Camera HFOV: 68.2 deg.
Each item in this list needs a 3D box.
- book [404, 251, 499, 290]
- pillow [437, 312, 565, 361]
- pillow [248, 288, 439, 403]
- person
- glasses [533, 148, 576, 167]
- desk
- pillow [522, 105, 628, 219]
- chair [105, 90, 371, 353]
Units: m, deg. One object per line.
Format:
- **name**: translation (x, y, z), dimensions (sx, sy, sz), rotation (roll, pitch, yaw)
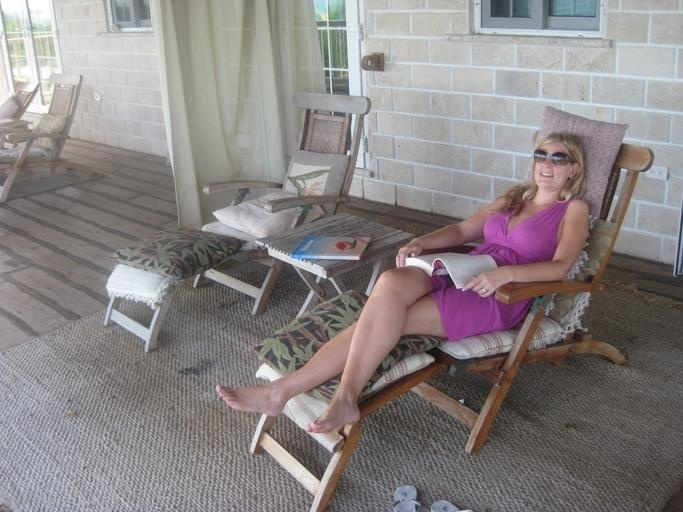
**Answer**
- **book**: translation (0.489, 0.082, 2.109), dimensions (0.301, 0.073, 0.396), rotation (-5, 5, 15)
- **pillow**: translation (0.667, 0.346, 2.067), dimensions (0.398, 0.041, 0.236), rotation (-7, 12, -18)
- **pillow**: translation (-0.018, 0.387, 2.110), dimensions (0.461, 0.108, 0.460), rotation (-30, 24, -21)
- **person**: translation (0.304, 0.095, 2.093), dimensions (1.781, 0.858, 0.631), rotation (-23, 30, -17)
- **glasses**: translation (0.954, -0.448, 2.293), dimensions (0.128, 0.031, 0.119), rotation (12, -3, -38)
- **desk**: translation (0.037, -0.044, 2.931), dimensions (0.772, 0.584, 0.736), rotation (-31, 38, -33)
- **pillow**: translation (1.089, -0.445, 2.297), dimensions (0.630, 0.454, 0.162), rotation (4, 0, 33)
- **chair**: translation (-0.637, -0.312, 3.213), dimensions (1.684, 0.986, 0.758), rotation (-30, 40, -29)
